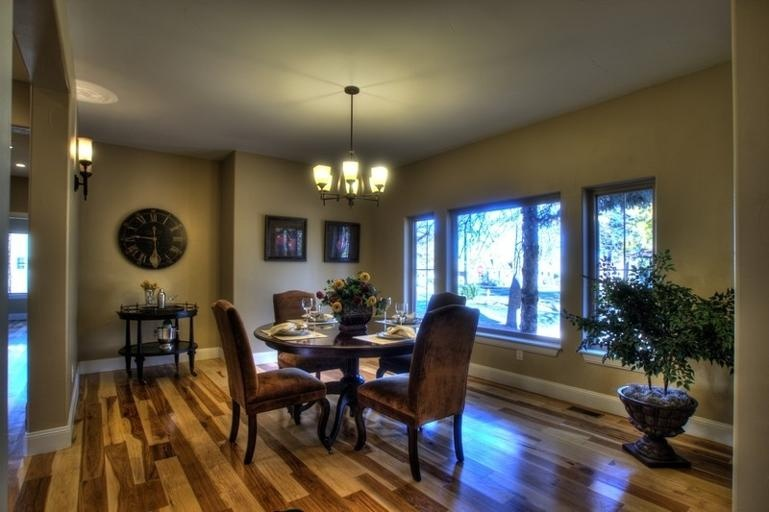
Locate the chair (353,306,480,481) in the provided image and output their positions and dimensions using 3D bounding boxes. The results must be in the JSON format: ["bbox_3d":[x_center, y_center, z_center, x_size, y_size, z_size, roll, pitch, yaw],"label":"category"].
[{"bbox_3d":[0.249,1.049,4.333,0.784,1.325,0.894,0,5,-31],"label":"chair"}]

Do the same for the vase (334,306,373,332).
[{"bbox_3d":[-0.255,0.583,4.649,0.251,0.189,0.225,4,-9,-19],"label":"vase"}]

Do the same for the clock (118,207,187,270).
[{"bbox_3d":[-2.855,-0.191,6.408,0.764,0.824,0.069,1,27,-22],"label":"clock"}]

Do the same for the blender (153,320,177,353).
[{"bbox_3d":[-2.537,0.928,6.029,0.217,0.383,0.293,2,-1,-22],"label":"blender"}]

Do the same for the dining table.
[{"bbox_3d":[-0.347,1.083,4.787,1.325,0.771,1.374,-6,-6,-5],"label":"dining table"}]

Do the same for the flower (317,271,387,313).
[{"bbox_3d":[-0.329,0.355,4.762,0.448,0.334,0.511,-11,17,-11],"label":"flower"}]

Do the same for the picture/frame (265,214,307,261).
[{"bbox_3d":[-1.323,-0.232,6.806,0.595,0.590,0.047,5,-7,-43],"label":"picture/frame"}]

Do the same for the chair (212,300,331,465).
[{"bbox_3d":[-0.979,1.048,4.517,0.981,1.257,0.845,-1,1,-14],"label":"chair"}]

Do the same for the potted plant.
[{"bbox_3d":[2.284,0.919,4.400,1.093,1.649,1.398,-2,2,36],"label":"potted plant"}]

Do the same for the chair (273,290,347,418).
[{"bbox_3d":[-0.819,0.909,5.257,0.637,1.033,0.583,5,-6,-4],"label":"chair"}]

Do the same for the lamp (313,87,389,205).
[{"bbox_3d":[-0.328,-1.107,5.172,0.798,1.151,0.794,-1,-3,40],"label":"lamp"}]
